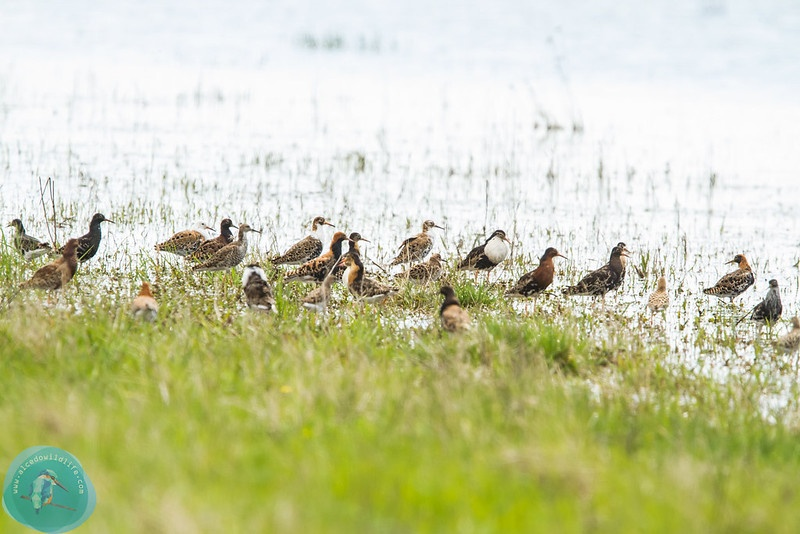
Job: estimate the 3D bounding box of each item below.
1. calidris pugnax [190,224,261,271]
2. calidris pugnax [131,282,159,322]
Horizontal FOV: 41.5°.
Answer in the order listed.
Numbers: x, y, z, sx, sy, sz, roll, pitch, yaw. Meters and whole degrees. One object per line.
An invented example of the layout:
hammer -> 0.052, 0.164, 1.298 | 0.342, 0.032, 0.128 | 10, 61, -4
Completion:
calidris pugnax -> -2.907, -0.254, 17.492 | 1.072, 0.985, 0.432 | 1, 6, -22
calidris pugnax -> -3.637, 0.560, 15.053 | 0.459, 0.716, 0.414 | 4, -25, -19
